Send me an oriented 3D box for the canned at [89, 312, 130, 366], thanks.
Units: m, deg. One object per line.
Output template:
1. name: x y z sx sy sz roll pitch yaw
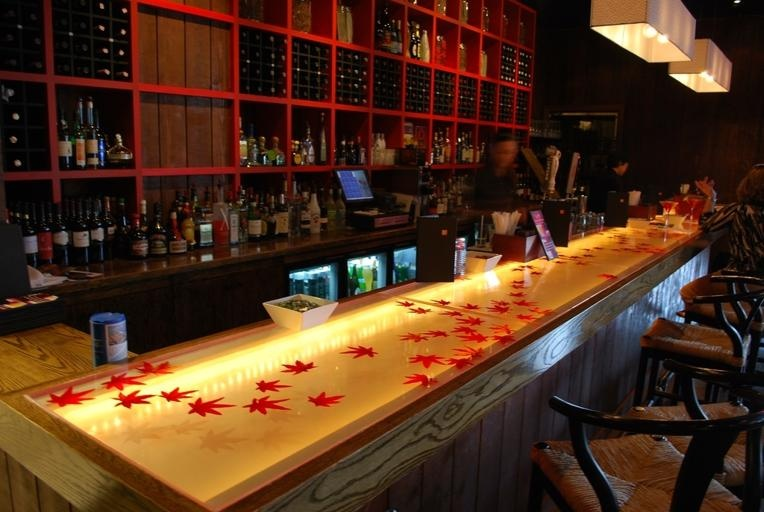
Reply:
1. canned: -0.947 0.293 1.869 0.112 0.168 0.118 12 14 41

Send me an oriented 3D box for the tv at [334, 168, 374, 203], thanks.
1. tv: -0.230 -0.647 4.839 0.060 0.324 0.458 -32 24 -32

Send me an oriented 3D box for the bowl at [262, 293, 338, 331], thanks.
1. bowl: -0.324 0.227 2.215 0.302 0.113 0.224 -6 9 -14

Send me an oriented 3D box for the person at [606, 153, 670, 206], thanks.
1. person: 3.712 -1.142 7.759 0.560 0.919 0.994 -7 16 -4

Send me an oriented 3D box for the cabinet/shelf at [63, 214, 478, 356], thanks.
1. cabinet/shelf: -1.014 0.214 3.919 0.267 0.574 2.409 4 12 44
